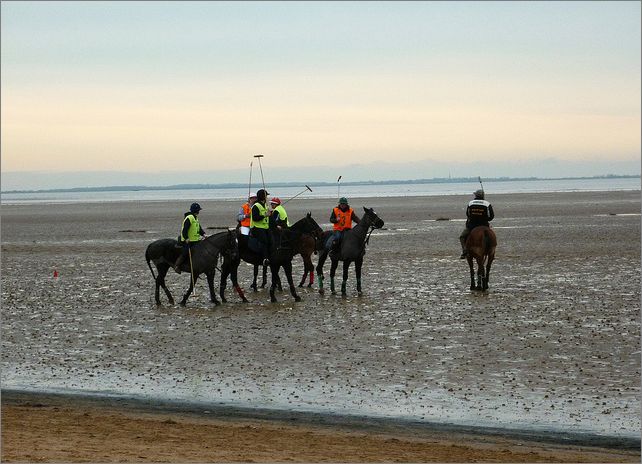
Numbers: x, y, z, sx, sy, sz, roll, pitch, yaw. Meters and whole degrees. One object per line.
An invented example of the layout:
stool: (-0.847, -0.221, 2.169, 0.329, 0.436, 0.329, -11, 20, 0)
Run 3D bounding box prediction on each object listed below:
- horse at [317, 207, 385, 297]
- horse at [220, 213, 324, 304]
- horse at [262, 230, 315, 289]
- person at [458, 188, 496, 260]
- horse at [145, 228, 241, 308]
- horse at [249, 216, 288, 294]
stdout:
horse: (1.059, 0.625, 38.706, 2.386, 2.942, 2.106, -1, 7, -7)
horse: (-1.993, 0.990, 38.066, 3.599, 2.925, 2.763, -3, 8, -24)
horse: (-1.388, 0.698, 38.940, 3.366, 2.244, 0.810, 1, 5, -1)
person: (5.593, -0.310, 39.374, 1.240, 2.431, 1.057, -1, 5, 2)
horse: (-4.499, 1.219, 37.513, 2.918, 2.538, 2.556, -2, 6, -18)
horse: (-1.794, 0.716, 38.816, 1.420, 2.621, 1.183, -4, 7, -15)
